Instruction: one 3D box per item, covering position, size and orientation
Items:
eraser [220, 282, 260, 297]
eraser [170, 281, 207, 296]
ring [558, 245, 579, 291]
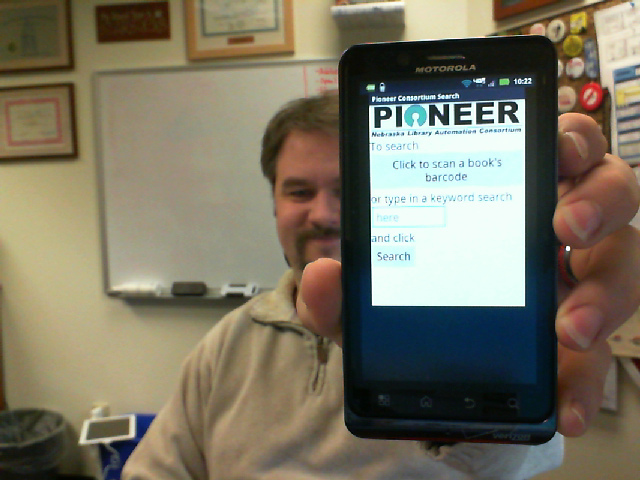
[{"bbox_3d":[-0.312,0.188,2.682,0.110,0.024,0.070,1,41,5],"label":"eraser"},{"bbox_3d":[-0.523,0.192,2.718,0.152,0.058,0.045,-1,3,16],"label":"eraser"},{"bbox_3d":[0.544,0.062,1.539,0.059,0.088,0.031,-6,-1,-7],"label":"ring"}]
